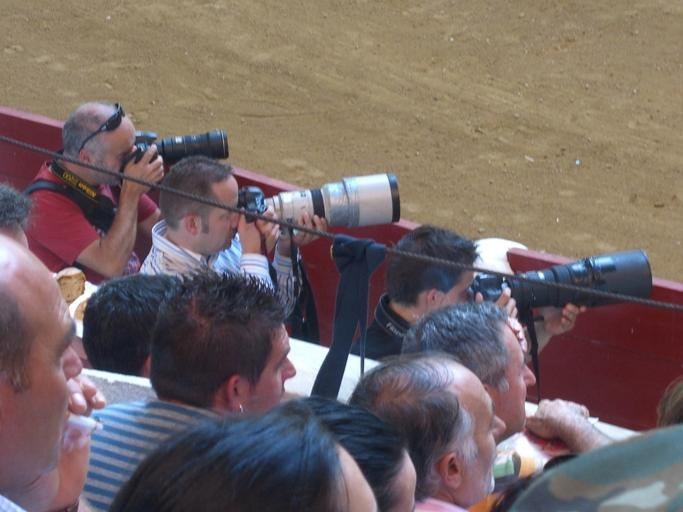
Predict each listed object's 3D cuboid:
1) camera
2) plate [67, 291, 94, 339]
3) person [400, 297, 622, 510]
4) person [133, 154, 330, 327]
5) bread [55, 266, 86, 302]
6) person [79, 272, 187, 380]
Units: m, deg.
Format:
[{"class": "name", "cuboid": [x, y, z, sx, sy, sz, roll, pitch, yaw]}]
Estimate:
[{"class": "camera", "cuboid": [-1.224, -0.823, 8.908, 0.505, 0.240, 0.353, -6, 16, 1]}, {"class": "plate", "cuboid": [-1.851, 0.388, 8.031, 0.092, 0.475, 0.348, 0, -4, 17]}, {"class": "person", "cuboid": [0.978, 0.742, 6.816, 0.813, 1.239, 0.670, -20, 11, -17]}, {"class": "person", "cuboid": [-0.889, -0.046, 8.568, 1.266, 1.513, 1.086, -10, 39, -12]}, {"class": "bread", "cuboid": [-2.064, 0.191, 8.315, 0.208, 0.179, 0.214, -12, 28, -9]}, {"class": "person", "cuboid": [-1.471, 0.583, 7.443, 0.533, 0.775, 0.762, -5, 0, -21]}]
